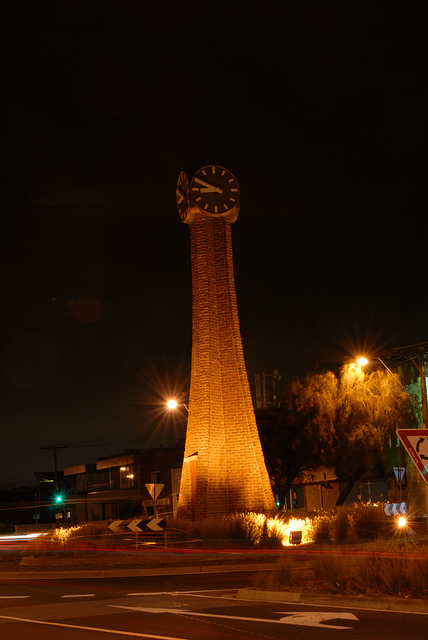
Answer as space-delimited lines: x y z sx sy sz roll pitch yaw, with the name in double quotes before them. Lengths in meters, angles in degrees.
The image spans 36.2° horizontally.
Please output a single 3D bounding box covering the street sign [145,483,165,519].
"street sign" -2.221 6.530 23.894 0.575 1.211 1.306 4 -12 -5
